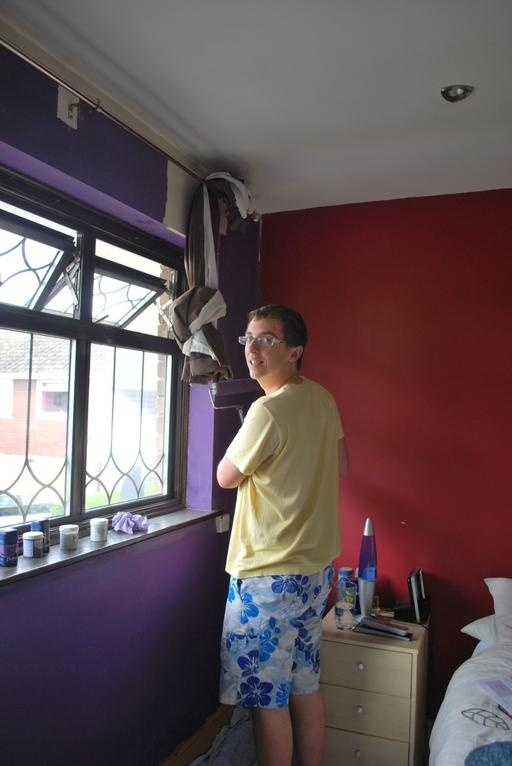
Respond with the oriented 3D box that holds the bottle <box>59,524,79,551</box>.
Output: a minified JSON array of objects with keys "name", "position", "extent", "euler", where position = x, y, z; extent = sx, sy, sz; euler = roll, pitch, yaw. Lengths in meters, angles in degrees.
[{"name":"bottle","position":[-0.541,0.440,1.664],"extent":[0.062,0.065,0.062],"euler":[3,-3,-25]}]

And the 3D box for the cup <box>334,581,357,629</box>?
[{"name":"cup","position":[0.369,0.909,2.317],"extent":[0.071,0.123,0.070],"euler":[3,-17,1]}]

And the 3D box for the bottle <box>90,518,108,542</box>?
[{"name":"bottle","position":[-0.481,0.446,1.764],"extent":[0.059,0.065,0.061],"euler":[1,-6,-4]}]

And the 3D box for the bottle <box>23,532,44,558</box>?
[{"name":"bottle","position":[-0.598,0.432,1.544],"extent":[0.059,0.063,0.060],"euler":[0,-3,17]}]
